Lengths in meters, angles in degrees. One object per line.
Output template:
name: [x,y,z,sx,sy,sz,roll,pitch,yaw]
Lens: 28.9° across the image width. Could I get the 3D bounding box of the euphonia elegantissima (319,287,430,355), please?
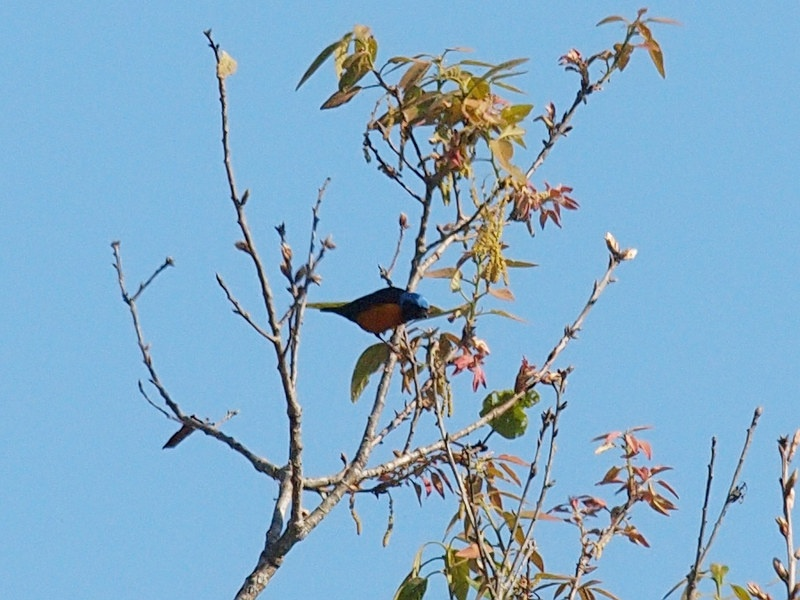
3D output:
euphonia elegantissima: [-0.148,0.059,5.896,0.538,0.183,0.286,3,-96,16]
